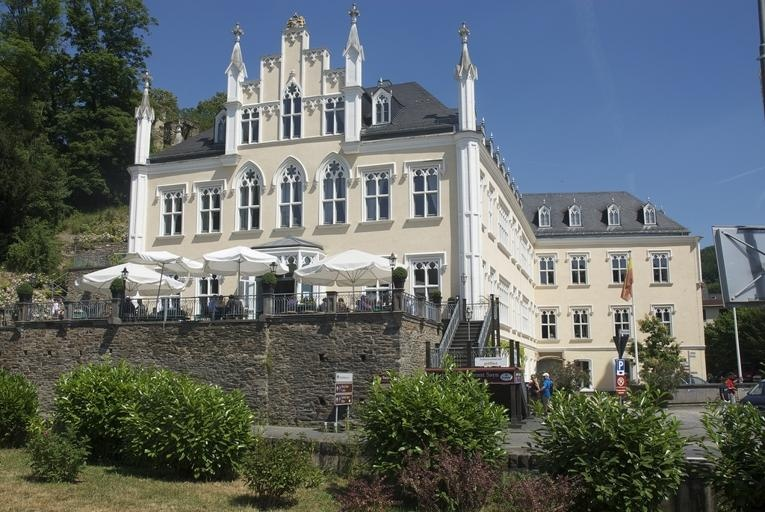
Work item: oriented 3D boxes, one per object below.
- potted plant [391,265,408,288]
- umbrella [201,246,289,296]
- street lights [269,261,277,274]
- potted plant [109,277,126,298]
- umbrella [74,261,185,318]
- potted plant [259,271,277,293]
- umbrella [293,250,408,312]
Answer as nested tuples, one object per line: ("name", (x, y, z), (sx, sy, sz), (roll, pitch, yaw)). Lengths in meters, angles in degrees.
("potted plant", (0.795, 0.993, 39.233), (0.772, 0.983, 0.797), (-1, -4, 26))
("umbrella", (-6.744, 0.346, 43.226), (4.414, 2.933, 2.536), (-3, 1, -3))
("street lights", (-5.219, 0.564, 42.340), (0.427, 0.575, 0.438), (0, -2, -6))
("potted plant", (-12.640, 1.593, 42.187), (0.886, 1.084, 0.893), (0, -1, -14))
("umbrella", (-12.526, 1.755, 44.229), (4.566, 3.025, 3.011), (-2, -2, -5))
("potted plant", (-5.268, 1.271, 40.876), (0.891, 1.199, 0.841), (2, -2, -3))
("umbrella", (-1.844, 0.742, 40.721), (2.759, 1.360, 2.981), (-3, -5, 20))
